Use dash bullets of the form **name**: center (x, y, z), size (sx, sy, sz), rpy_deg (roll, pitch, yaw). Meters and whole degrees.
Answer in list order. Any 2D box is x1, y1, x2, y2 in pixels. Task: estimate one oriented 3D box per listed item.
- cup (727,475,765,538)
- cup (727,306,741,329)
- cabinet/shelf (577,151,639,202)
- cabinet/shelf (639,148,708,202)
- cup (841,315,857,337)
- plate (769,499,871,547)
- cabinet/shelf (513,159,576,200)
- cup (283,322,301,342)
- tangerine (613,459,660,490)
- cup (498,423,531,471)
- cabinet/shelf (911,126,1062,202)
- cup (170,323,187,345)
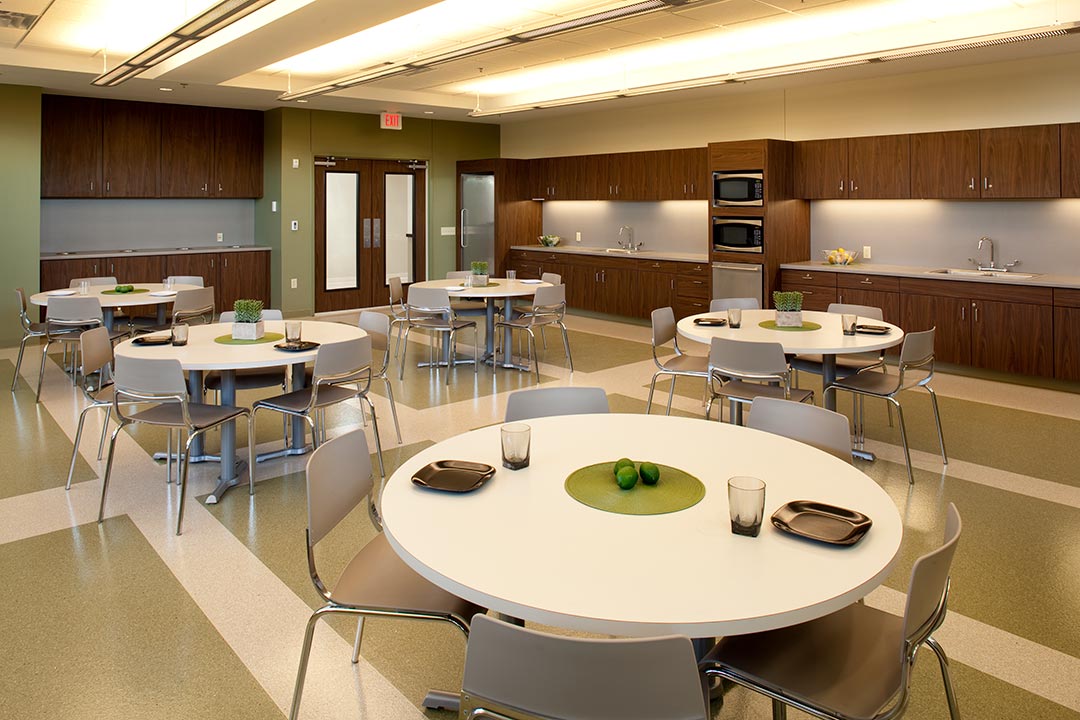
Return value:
- **cup**: center (0.771, 0.529, 2.639), size (0.144, 0.220, 0.078), rpy_deg (-2, 11, -2)
- **cup**: center (1.539, -0.328, 5.704), size (0.142, 0.172, 0.149), rpy_deg (-2, 4, 0)
- **cabinet/shelf**: center (1.107, -2.866, 11.184), size (0.314, 0.607, 0.857), rpy_deg (-3, 6, -44)
- **cabinet/shelf**: center (1.995, -2.693, 10.399), size (0.333, 0.633, 0.861), rpy_deg (-3, 6, -44)
- **cup**: center (2.275, -0.250, 5.319), size (0.131, 0.153, 0.133), rpy_deg (-2, 7, 0)
- **plate**: center (1.050, 0.602, 2.662), size (0.330, 0.086, 0.214), rpy_deg (5, 13, 29)
- **cabinet/shelf**: center (0.093, -3.060, 12.086), size (0.730, 0.484, 0.258), rpy_deg (9, 14, 43)
- **cup**: center (-1.783, -0.204, 5.121), size (0.103, 0.166, 0.102), rpy_deg (0, 13, 0)
- **tangerine**: center (0.388, 0.462, 2.911), size (0.133, 0.061, 0.136), rpy_deg (-1, 2, -44)
- **cup**: center (-0.105, 0.367, 3.040), size (0.158, 0.184, 0.167), rpy_deg (-1, 1, 0)
- **cabinet/shelf**: center (4.839, -2.082, 7.612), size (0.889, 0.450, 0.319), rpy_deg (7, 9, 44)
- **cup**: center (-2.597, -0.179, 5.154), size (0.134, 0.173, 0.140), rpy_deg (0, 13, 0)
